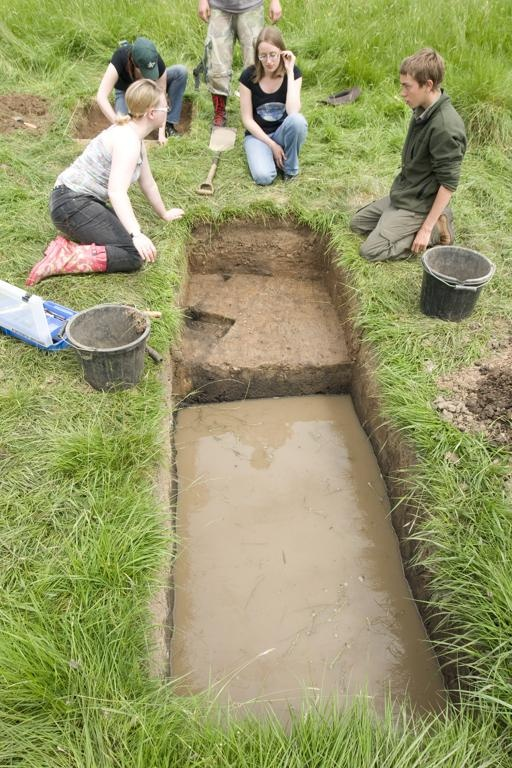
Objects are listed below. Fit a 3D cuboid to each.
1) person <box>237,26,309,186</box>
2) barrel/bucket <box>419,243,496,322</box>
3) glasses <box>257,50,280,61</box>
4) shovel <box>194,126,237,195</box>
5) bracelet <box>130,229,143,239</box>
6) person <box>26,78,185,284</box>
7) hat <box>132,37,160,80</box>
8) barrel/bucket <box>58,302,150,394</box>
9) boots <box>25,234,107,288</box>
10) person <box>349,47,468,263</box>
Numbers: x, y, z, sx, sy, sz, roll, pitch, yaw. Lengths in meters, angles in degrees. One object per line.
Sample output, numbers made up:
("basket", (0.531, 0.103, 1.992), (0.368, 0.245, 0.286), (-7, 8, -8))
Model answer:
("person", (0.104, -1.859, 4.540), (0.445, 0.910, 0.625), (2, 42, -1))
("barrel/bucket", (1.012, -0.506, 3.545), (0.354, 0.282, 0.356), (3, 39, -2))
("glasses", (0.074, -2.048, 4.258), (0.128, 0.078, 0.070), (1, 42, -3))
("shovel", (-0.289, -1.599, 4.869), (0.191, 0.080, 0.732), (3, 41, 5))
("bracelet", (-0.635, -0.795, 3.616), (0.043, 0.023, 0.061), (-6, 32, -4))
("person", (-0.816, -1.009, 3.501), (0.624, 0.926, 0.632), (7, 42, 4))
("hat", (-0.712, -2.063, 4.381), (0.166, 0.254, 0.228), (-5, 42, -9))
("barrel/bucket", (-0.646, -0.155, 3.053), (0.356, 0.309, 0.376), (2, 42, -2))
("boots", (-1.029, -0.672, 3.671), (0.431, 0.151, 0.221), (-14, 45, -19))
("person", (0.841, -1.302, 3.863), (0.592, 1.091, 0.569), (-2, 40, 6))
